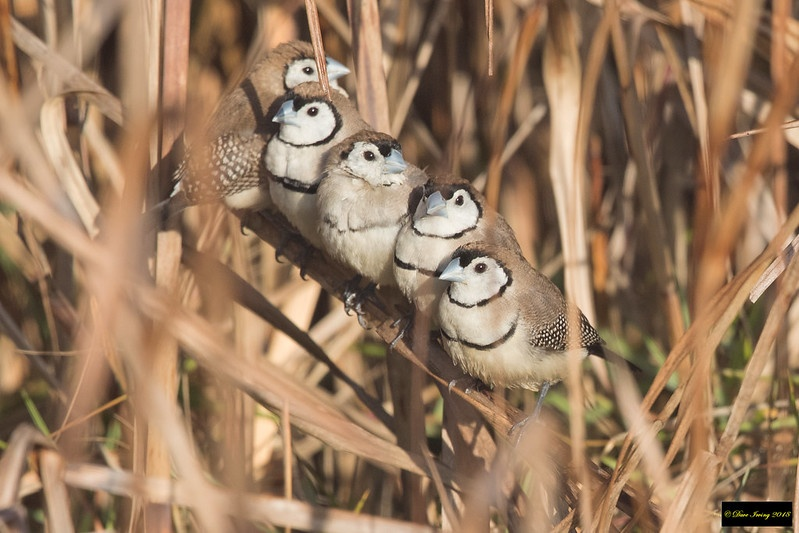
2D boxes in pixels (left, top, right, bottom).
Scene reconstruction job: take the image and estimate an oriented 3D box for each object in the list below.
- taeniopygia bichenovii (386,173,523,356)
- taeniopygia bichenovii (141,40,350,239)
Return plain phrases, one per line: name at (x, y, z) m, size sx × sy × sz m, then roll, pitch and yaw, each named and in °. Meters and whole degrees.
taeniopygia bichenovii at (0.189, -0.055, 5.824) m, size 0.658 × 0.724 × 0.724 m, roll -1°, pitch 2°, yaw 38°
taeniopygia bichenovii at (-0.837, -0.599, 6.270) m, size 1.161 × 0.670 × 0.441 m, roll 2°, pitch 19°, yaw 31°
